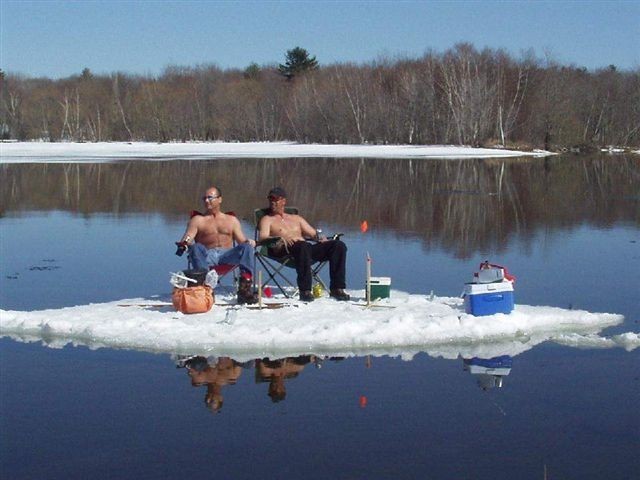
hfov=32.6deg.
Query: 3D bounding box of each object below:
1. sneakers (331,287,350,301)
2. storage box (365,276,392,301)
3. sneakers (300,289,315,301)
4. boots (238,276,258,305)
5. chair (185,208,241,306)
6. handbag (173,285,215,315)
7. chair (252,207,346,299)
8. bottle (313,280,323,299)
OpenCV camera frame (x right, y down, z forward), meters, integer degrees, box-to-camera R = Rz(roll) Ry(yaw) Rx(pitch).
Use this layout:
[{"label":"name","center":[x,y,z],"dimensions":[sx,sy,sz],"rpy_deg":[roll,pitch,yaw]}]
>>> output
[{"label":"sneakers","center":[0.279,0.814,15.625],"dimensions":[0.261,0.177,0.120],"rpy_deg":[-1,1,14]},{"label":"storage box","center":[0.820,0.725,15.567],"dimensions":[0.332,0.319,0.325],"rpy_deg":[0,-1,-2]},{"label":"sneakers","center":[-0.185,0.815,15.487],"dimensions":[0.112,0.130,0.212],"rpy_deg":[2,-12,-23]},{"label":"boots","center":[-0.964,0.758,15.524],"dimensions":[0.423,0.409,0.248],"rpy_deg":[-2,-1,14]},{"label":"chair","center":[-1.456,0.175,15.636],"dimensions":[1.003,1.372,1.097],"rpy_deg":[-1,11,-5]},{"label":"handbag","center":[-1.743,0.846,14.944],"dimensions":[0.413,0.281,0.413],"rpy_deg":[0,-1,-2]},{"label":"chair","center":[-0.278,0.190,15.897],"dimensions":[1.151,1.296,1.135],"rpy_deg":[-4,-1,-33]},{"label":"bottle","center":[-0.040,0.751,15.760],"dimensions":[0.133,0.148,0.332],"rpy_deg":[-16,20,5]}]
